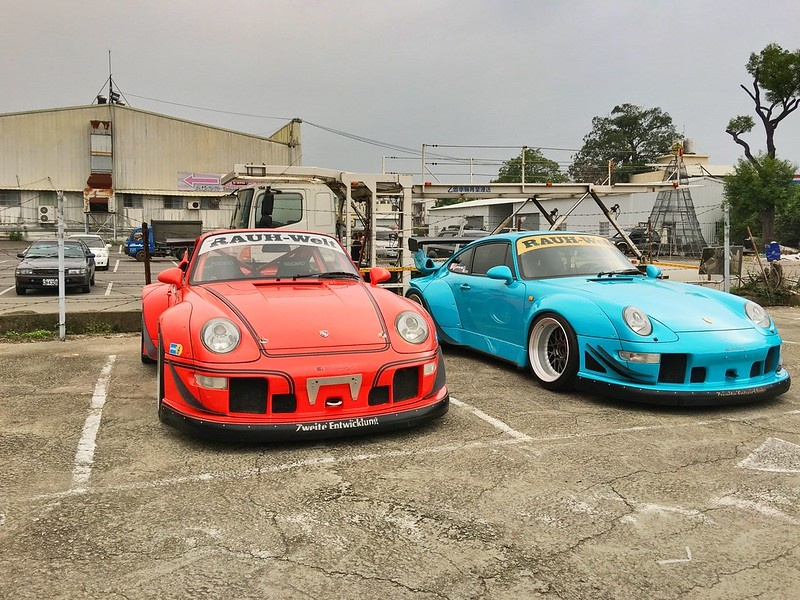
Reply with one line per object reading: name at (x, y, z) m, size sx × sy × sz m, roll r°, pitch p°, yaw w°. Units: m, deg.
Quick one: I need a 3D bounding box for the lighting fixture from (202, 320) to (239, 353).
lighting fixture at (-1.239, 0.251, 4.196) m, size 0.244 × 0.189 × 0.266 m, roll -6°, pitch 12°, yaw -31°

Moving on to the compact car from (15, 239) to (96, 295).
compact car at (-8.758, -0.756, 15.299) m, size 1.580 × 1.289 × 2.924 m, roll -4°, pitch 11°, yaw -21°

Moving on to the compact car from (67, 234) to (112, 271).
compact car at (-11.896, -1.877, 22.988) m, size 1.778 × 1.169 × 3.658 m, roll -1°, pitch 2°, yaw -17°

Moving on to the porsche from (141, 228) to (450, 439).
porsche at (-0.932, 0.161, 4.887) m, size 2.017 × 1.283 × 2.102 m, roll -5°, pitch 11°, yaw -26°

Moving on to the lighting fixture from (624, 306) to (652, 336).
lighting fixture at (1.970, 0.178, 5.036) m, size 0.233 × 0.200 × 0.205 m, roll 4°, pitch 11°, yaw 18°

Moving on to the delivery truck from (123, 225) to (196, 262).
delivery truck at (-12.000, -3.095, 31.757) m, size 3.988 × 1.929 × 1.778 m, roll -1°, pitch 7°, yaw -7°

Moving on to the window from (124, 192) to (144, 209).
window at (-19.288, -7.092, 43.736) m, size 1.222 × 0.935 × 0.373 m, roll 1°, pitch 10°, yaw -10°

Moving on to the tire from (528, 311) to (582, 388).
tire at (1.450, 0.450, 5.613) m, size 0.221 × 0.570 × 0.594 m, roll 8°, pitch 15°, yaw -27°

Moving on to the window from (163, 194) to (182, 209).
window at (-16.871, -7.194, 44.707) m, size 1.239 × 0.797 × 0.101 m, roll 1°, pitch 14°, yaw -19°

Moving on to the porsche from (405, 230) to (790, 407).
porsche at (1.692, 0.110, 6.174) m, size 1.781 × 0.973 × 3.167 m, roll 0°, pitch 5°, yaw -31°
